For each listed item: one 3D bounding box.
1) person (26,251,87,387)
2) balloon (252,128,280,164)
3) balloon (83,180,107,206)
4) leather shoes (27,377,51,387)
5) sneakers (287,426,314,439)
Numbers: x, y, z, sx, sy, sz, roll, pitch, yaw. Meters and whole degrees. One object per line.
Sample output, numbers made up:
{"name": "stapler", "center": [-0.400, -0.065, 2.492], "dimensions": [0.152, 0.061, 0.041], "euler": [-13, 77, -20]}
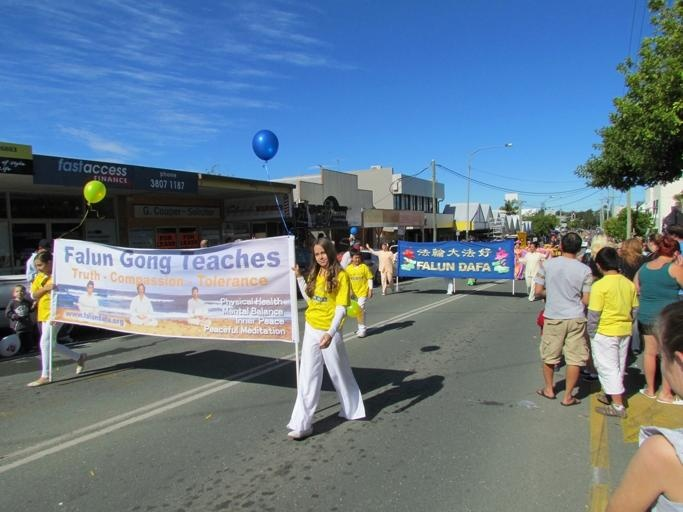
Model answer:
{"name": "person", "center": [-4.679, 0.969, 8.347], "dimensions": [0.773, 2.072, 0.749], "euler": [-6, 9, -32]}
{"name": "balloon", "center": [-1.445, -2.083, 9.914], "dimensions": [0.532, 0.700, 0.554], "euler": [-2, 10, -3]}
{"name": "balloon", "center": [-5.093, -1.307, 10.729], "dimensions": [0.351, 0.461, 0.893], "euler": [-5, 9, -28]}
{"name": "leather shoes", "center": [-4.685, 1.963, 8.122], "dimensions": [0.374, 0.175, 0.132], "euler": [3, -9, -1]}
{"name": "sneakers", "center": [-0.497, 2.137, 6.315], "dimensions": [0.311, 0.123, 0.190], "euler": [-2, 8, -6]}
